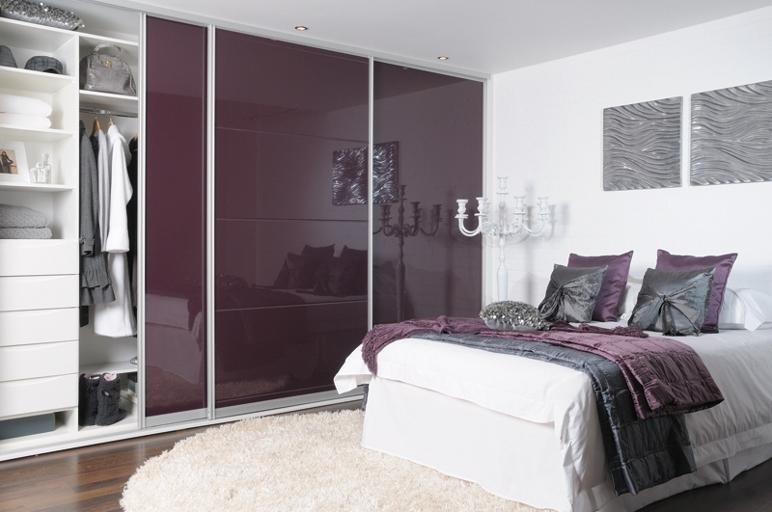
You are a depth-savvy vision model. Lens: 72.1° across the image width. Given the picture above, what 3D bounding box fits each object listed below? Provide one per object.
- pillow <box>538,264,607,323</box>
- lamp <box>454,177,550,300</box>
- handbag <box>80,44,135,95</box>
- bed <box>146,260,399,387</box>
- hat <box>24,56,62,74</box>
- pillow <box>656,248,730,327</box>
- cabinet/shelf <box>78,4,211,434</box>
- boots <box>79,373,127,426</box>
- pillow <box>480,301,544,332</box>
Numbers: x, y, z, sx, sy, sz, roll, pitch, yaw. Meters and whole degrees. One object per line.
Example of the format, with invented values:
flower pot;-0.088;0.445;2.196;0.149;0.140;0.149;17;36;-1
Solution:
pillow;1.610;0.325;4.565;0.535;0.503;0.169;0;-23;48
lamp;1.375;-0.157;6.121;1.258;1.628;1.255;0;-5;2
handbag;-2.348;-1.557;4.434;0.513;0.441;0.231;1;0;-35
bed;-1.030;0.577;5.266;1.328;0.861;1.424;3;-5;-31
hat;-2.728;-1.522;4.225;0.242;0.104;0.343;-1;3;-35
pillow;2.365;0.267;4.091;0.294;0.530;0.596;-1;-2;-20
cabinet/shelf;-1.780;-0.297;4.467;0.628;3.371;0.397;-2;7;-21
boots;-2.312;1.156;4.425;0.379;0.432;0.416;1;2;-20
pillow;0.935;0.449;3.951;0.293;0.115;0.281;8;-3;-7
